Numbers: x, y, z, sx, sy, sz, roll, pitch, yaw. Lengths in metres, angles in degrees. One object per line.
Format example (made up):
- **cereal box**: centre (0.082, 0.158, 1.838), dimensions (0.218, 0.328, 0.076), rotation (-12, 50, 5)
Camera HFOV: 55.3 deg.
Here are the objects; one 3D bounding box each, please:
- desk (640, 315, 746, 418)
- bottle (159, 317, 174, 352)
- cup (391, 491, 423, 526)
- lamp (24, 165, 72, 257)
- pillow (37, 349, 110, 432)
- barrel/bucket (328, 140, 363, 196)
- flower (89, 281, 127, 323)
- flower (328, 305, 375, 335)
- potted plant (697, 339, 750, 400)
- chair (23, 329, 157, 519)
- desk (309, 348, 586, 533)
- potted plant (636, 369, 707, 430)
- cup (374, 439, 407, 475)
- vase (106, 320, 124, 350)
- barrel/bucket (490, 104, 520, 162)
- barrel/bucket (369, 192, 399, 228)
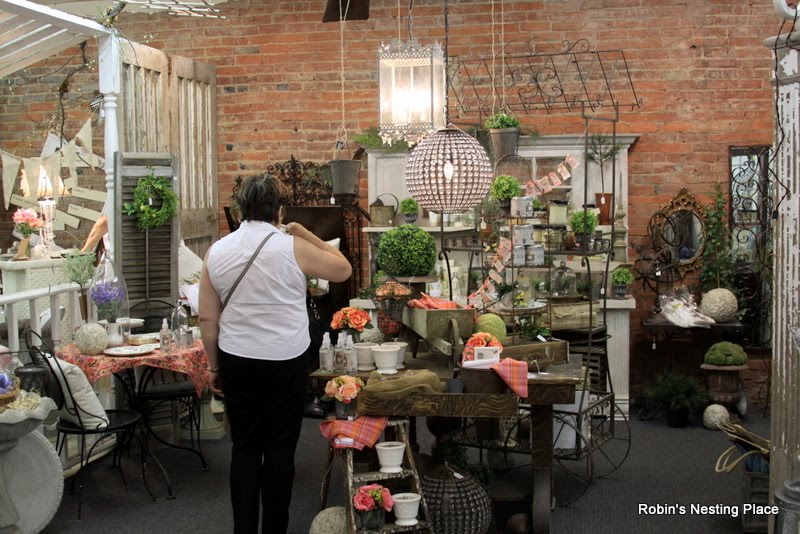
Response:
- **desk**: centre (3.118, 1.076, 8.359), dimensions (1.131, 1.086, 1.105), rotation (0, 0, 14)
- **bottle**: centre (-1.964, 0.575, 6.416), dimensions (0.101, 0.239, 0.284), rotation (-2, 4, -17)
- **cup**: centre (0.043, 1.618, 5.114), dimensions (0.181, 0.141, 0.183), rotation (1, -3, 0)
- **lamp**: centre (-4.569, -0.757, 9.862), dimensions (0.529, 1.161, 0.472), rotation (-5, 8, -30)
- **pillow**: centre (-2.590, 0.828, 6.153), dimensions (0.490, 0.684, 0.936), rotation (0, 3, -36)
- **barrel/bucket**: centre (-0.609, -1.093, 8.724), dimensions (0.406, 0.564, 0.375), rotation (0, 4, 0)
- **flower**: centre (-2.522, 0.323, 6.422), dimensions (0.275, 0.323, 0.266), rotation (-22, -13, -1)
- **flower**: centre (-0.384, 0.446, 6.395), dimensions (0.421, 0.235, 0.420), rotation (-2, 11, -12)
- **potted plant**: centre (3.459, 1.092, 8.021), dimensions (0.530, 0.596, 0.301), rotation (-2, 4, -25)
- **chair**: centre (-2.435, 1.211, 6.236), dimensions (0.861, 1.375, 0.990), rotation (2, 5, 28)
- **desk**: centre (0.767, 1.338, 6.102), dimensions (1.376, 1.317, 1.391), rotation (0, 1, 10)
- **potted plant**: centre (2.928, 1.436, 8.107), dimensions (0.663, 0.465, 0.588), rotation (5, -11, -24)
- **cup**: centre (-0.058, 1.304, 5.277), dimensions (0.215, 0.180, 0.269), rotation (-1, 4, -8)
- **vase**: centre (-2.379, 0.567, 6.353), dimensions (0.175, 0.238, 0.171), rotation (0, -1, -39)
- **barrel/bucket**: centre (1.061, -1.247, 7.477), dimensions (0.235, 0.520, 0.291), rotation (2, 6, -17)
- **barrel/bucket**: centre (-0.194, -0.648, 8.738), dimensions (0.365, 0.411, 0.232), rotation (-2, -2, 34)
